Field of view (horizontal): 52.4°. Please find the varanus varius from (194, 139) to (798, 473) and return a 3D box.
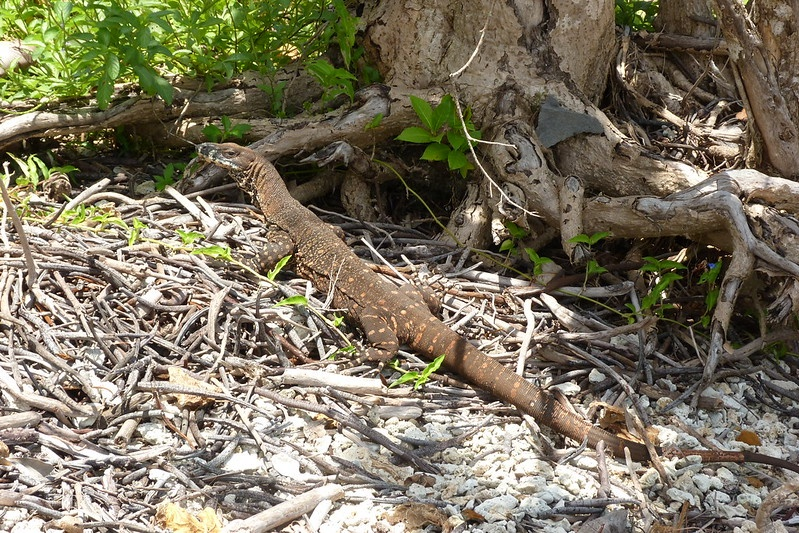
[{"bbox_3d":[0.954,0.403,6.965,4.101,0.532,0.973,34,21,25],"label":"varanus varius"}]
